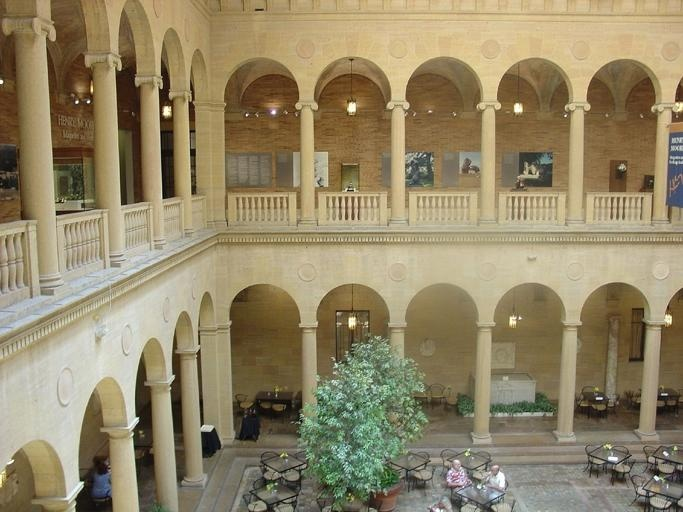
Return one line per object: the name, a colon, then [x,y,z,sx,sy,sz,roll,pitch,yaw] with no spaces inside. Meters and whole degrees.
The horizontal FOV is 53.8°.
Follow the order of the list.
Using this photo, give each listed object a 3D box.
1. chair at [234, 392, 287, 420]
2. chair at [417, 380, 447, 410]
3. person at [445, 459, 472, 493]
chair: [-2.606,4.829,21.799,1.501,0.529,0.884,0,8,1]
chair: [3.126,4.729,22.788,1.076,0.573,0.731,3,15,8]
person: [3.004,5.590,17.041,0.592,0.849,1.048,2,14,4]
